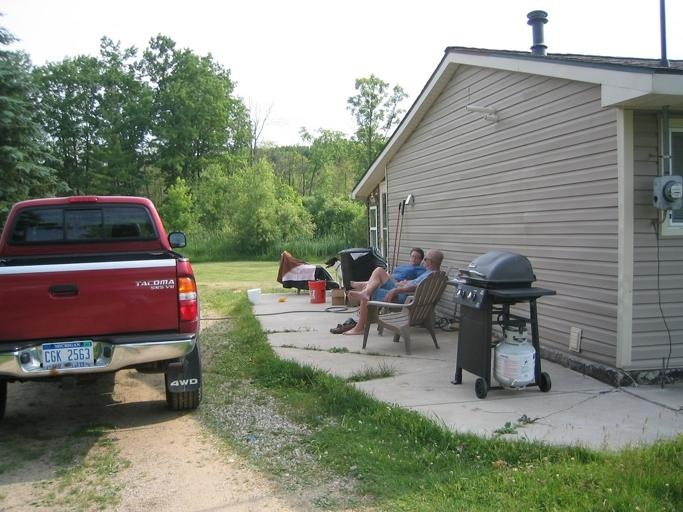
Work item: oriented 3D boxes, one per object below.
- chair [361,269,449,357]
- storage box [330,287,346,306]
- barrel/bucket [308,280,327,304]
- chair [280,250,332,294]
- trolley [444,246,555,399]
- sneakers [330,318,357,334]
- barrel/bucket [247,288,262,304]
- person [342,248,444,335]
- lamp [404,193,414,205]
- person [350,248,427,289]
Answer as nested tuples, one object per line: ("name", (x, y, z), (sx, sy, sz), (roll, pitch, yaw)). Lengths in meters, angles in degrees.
("chair", (1.040, 0.851, 9.665), (1.277, 1.236, 1.076), (-1, 0, 33))
("storage box", (-0.053, 0.935, 13.726), (0.306, 0.322, 0.315), (0, -1, -4))
("barrel/bucket", (-0.542, 0.834, 14.198), (0.431, 0.468, 0.440), (0, 4, 0))
("chair", (-0.928, 0.371, 16.092), (1.691, 1.037, 0.589), (-1, -11, 21))
("trolley", (2.107, 0.893, 7.892), (1.130, 2.045, 1.730), (0, 3, -13))
("sneakers", (0.065, 1.184, 10.707), (0.531, 0.220, 0.192), (-27, 7, -28))
("barrel/bucket", (-2.043, 0.944, 14.390), (0.330, 0.298, 0.324), (-1, -4, 0))
("person", (0.908, 0.745, 10.240), (1.606, 1.170, 1.027), (6, 25, 17))
("lamp", (1.446, -1.240, 13.298), (0.195, 0.375, 0.262), (-1, 5, -20))
("person", (0.833, 0.243, 10.922), (1.450, 0.961, 0.704), (5, 5, -17))
